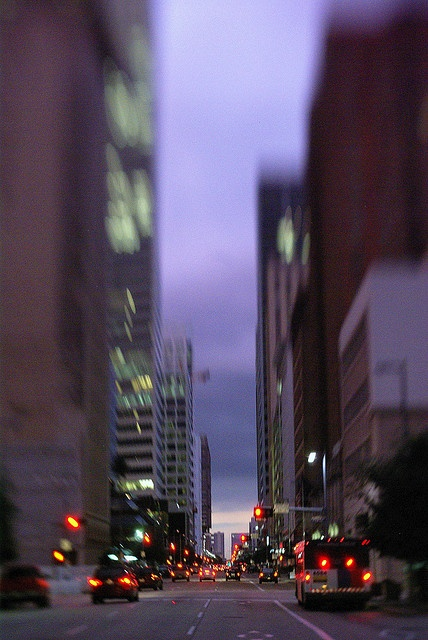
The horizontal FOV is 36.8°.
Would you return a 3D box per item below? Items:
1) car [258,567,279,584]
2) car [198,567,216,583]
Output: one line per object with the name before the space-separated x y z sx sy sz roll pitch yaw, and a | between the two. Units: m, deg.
car | 6.479 30.206 75.994 1.769 1.616 3.927 -4 -21 13
car | -0.942 33.617 84.875 1.907 1.773 6.482 1 -22 -3
